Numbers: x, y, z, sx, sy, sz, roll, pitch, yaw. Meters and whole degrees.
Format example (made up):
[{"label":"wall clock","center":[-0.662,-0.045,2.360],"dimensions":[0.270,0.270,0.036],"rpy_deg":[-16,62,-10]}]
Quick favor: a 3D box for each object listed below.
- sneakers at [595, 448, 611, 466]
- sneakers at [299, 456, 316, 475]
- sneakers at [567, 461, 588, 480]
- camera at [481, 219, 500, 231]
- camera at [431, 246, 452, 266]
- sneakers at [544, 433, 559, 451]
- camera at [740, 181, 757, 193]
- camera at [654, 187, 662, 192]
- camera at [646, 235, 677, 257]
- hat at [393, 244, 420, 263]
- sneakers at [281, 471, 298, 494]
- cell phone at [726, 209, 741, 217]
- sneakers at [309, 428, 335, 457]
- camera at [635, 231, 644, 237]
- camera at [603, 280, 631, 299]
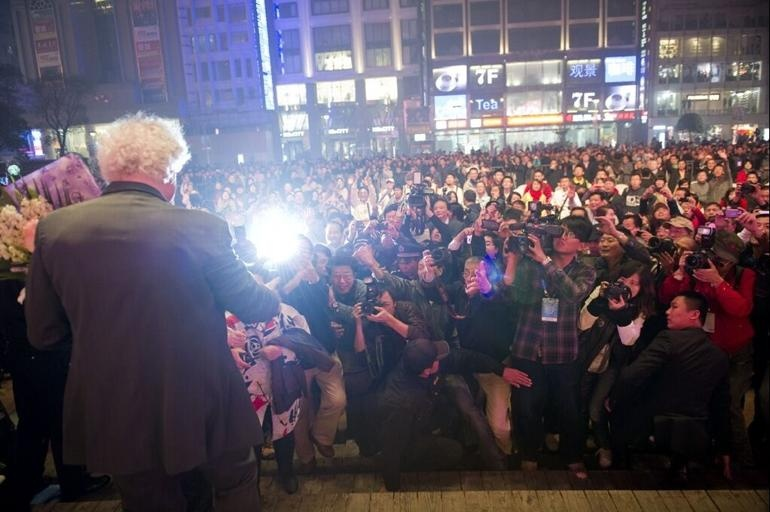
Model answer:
[{"label":"sneakers","center":[2.362,2.139,6.024],"dimensions":[0.107,0.194,0.085],"rpy_deg":[-3,-14,13]},{"label":"sneakers","center":[-0.835,2.223,6.100],"dimensions":[0.198,0.175,0.200],"rpy_deg":[-5,9,-9]},{"label":"sneakers","center":[2.022,2.222,5.845],"dimensions":[0.206,0.117,0.074],"rpy_deg":[2,-9,6]},{"label":"camera","center":[1.341,-0.393,7.073],"dimensions":[0.102,0.138,0.246],"rpy_deg":[-13,12,-43]},{"label":"camera","center":[0.720,0.008,6.989],"dimensions":[0.255,0.178,0.250],"rpy_deg":[5,0,23]},{"label":"sneakers","center":[1.880,2.072,6.262],"dimensions":[0.105,0.287,0.115],"rpy_deg":[1,14,11]},{"label":"camera","center":[4.571,-0.855,7.043],"dimensions":[0.164,0.156,0.160],"rpy_deg":[11,1,14]},{"label":"camera","center":[5.099,-1.224,10.446],"dimensions":[0.138,0.054,0.156],"rpy_deg":[-7,4,-5]},{"label":"camera","center":[3.210,-0.111,6.498],"dimensions":[0.257,0.241,0.257],"rpy_deg":[3,11,36]},{"label":"hat","center":[0.329,-0.032,7.390],"dimensions":[0.334,0.207,0.292],"rpy_deg":[-3,9,4]},{"label":"sneakers","center":[-0.999,2.316,5.805],"dimensions":[0.202,0.196,0.148],"rpy_deg":[-3,9,6]},{"label":"cell phone","center":[4.163,-0.500,6.685],"dimensions":[0.160,0.111,0.250],"rpy_deg":[2,10,31]},{"label":"sneakers","center":[-0.681,2.073,6.232],"dimensions":[0.235,0.327,0.211],"rpy_deg":[-5,9,-4]},{"label":"camera","center":[3.317,-0.287,7.304],"dimensions":[0.072,0.071,0.042],"rpy_deg":[7,14,-23]},{"label":"camera","center":[2.430,0.365,5.856],"dimensions":[0.260,0.161,0.164],"rpy_deg":[-8,10,-25]}]
